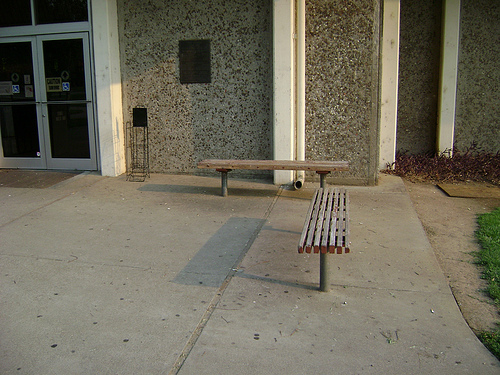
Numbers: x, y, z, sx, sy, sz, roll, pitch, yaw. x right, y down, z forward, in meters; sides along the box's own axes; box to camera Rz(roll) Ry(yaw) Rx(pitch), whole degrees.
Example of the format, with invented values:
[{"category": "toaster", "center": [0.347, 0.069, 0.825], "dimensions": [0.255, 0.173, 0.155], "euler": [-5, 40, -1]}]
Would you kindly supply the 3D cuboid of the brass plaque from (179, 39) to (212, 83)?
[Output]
[{"category": "brass plaque", "center": [-1.064, -2.525, 7.315], "dimensions": [0.809, 1.015, 0.112], "euler": [0, 5, 4]}]
